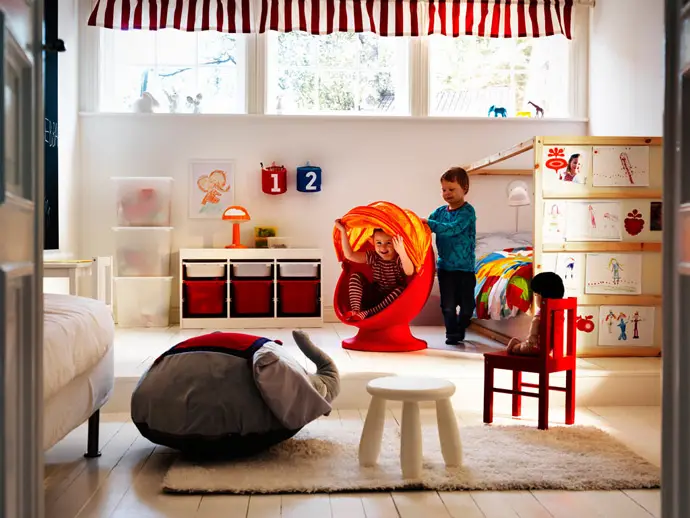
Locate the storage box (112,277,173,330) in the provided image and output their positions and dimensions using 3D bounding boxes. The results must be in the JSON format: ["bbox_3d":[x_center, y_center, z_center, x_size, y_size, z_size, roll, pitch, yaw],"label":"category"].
[{"bbox_3d":[-1.924,0.388,5.842,0.461,0.487,0.483,0,3,-5],"label":"storage box"}]

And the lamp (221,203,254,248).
[{"bbox_3d":[-1.043,-0.312,5.901,0.263,0.400,0.452,-2,8,-9],"label":"lamp"}]

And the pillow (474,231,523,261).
[{"bbox_3d":[1.457,-0.159,5.812,0.298,0.086,0.336,-7,12,-1],"label":"pillow"}]

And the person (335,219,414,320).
[{"bbox_3d":[0.231,0.073,4.627,0.636,0.772,0.530,11,12,31],"label":"person"}]

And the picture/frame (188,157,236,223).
[{"bbox_3d":[-1.328,-0.683,6.033,0.593,0.817,0.033,-1,3,-2],"label":"picture/frame"}]

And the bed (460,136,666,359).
[{"bbox_3d":[2.331,-0.406,5.128,0.992,1.521,2.422,2,17,30],"label":"bed"}]

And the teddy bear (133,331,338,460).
[{"bbox_3d":[-0.504,0.671,3.138,0.987,0.645,1.095,-5,-7,43],"label":"teddy bear"}]

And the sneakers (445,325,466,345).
[{"bbox_3d":[0.878,0.610,4.793,0.074,0.163,0.229,-6,-14,31],"label":"sneakers"}]

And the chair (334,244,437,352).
[{"bbox_3d":[0.351,0.278,4.645,0.640,0.733,0.740,-8,14,-21],"label":"chair"}]

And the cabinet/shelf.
[{"bbox_3d":[-0.862,0.367,5.804,1.317,0.779,0.460,0,-23,-8],"label":"cabinet/shelf"}]

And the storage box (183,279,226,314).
[{"bbox_3d":[-1.318,0.330,5.723,0.424,0.333,0.269,1,13,-17],"label":"storage box"}]

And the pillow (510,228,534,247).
[{"bbox_3d":[1.704,-0.192,5.885,0.190,0.077,0.251,-5,16,5],"label":"pillow"}]

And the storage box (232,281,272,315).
[{"bbox_3d":[-0.862,0.354,5.626,0.308,0.259,0.323,0,0,-5],"label":"storage box"}]

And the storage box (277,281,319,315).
[{"bbox_3d":[-0.415,0.352,5.788,0.316,0.269,0.327,0,1,-4],"label":"storage box"}]

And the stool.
[{"bbox_3d":[0.294,0.691,2.641,0.379,0.332,0.398,0,-8,1],"label":"stool"}]

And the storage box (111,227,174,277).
[{"bbox_3d":[-1.914,-0.075,5.772,0.457,0.476,0.477,0,1,-7],"label":"storage box"}]

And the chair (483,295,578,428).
[{"bbox_3d":[1.019,0.556,3.355,0.487,0.711,0.507,2,-3,-8],"label":"chair"}]

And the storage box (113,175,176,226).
[{"bbox_3d":[-1.940,-0.521,5.980,0.626,0.506,0.466,0,-11,-20],"label":"storage box"}]

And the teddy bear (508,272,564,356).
[{"bbox_3d":[1.096,0.308,3.370,0.276,0.483,0.283,-5,0,2],"label":"teddy bear"}]
